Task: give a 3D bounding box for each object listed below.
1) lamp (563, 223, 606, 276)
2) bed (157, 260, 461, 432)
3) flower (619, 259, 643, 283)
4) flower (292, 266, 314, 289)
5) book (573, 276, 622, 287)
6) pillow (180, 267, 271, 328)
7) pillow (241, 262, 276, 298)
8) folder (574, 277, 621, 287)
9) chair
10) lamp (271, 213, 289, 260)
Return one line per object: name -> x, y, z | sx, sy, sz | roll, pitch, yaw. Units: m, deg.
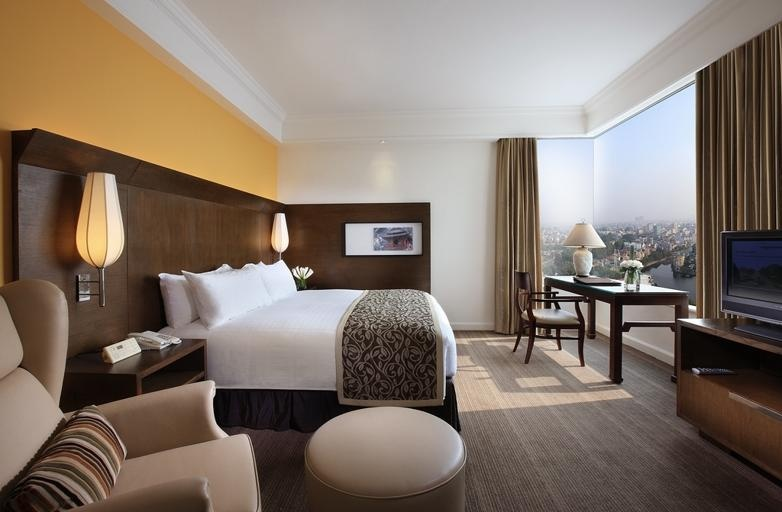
lamp -> 2.322, -0.082, 6.072 | 0.501, 0.690, 0.515 | 3, -4, -10
bed -> -0.741, 0.852, 4.714 | 1.739, 0.974, 1.822 | -1, -2, -2
flower -> 2.580, 0.172, 5.475 | 0.268, 0.286, 0.237 | 0, -3, -6
flower -> -1.242, 0.293, 6.906 | 0.317, 0.350, 0.285 | 1, -5, -12
book -> 2.381, 0.299, 5.824 | 0.480, 0.037, 0.360 | 1, 8, 16
pillow -> -1.559, 0.238, 4.766 | 0.420, 0.408, 1.006 | 19, 5, 4
pillow -> -1.447, 0.237, 5.605 | 0.094, 0.394, 0.404 | -20, -10, 10
folder -> 2.342, 0.301, 5.751 | 0.424, 0.033, 0.320 | 2, 8, 28
chair -> 1.792, 0.685, 5.841 | 0.665, 1.045, 0.816 | 0, 3, 2
lamp -> -1.563, -0.282, 6.965 | 0.215, 0.659, 0.411 | -1, 3, -5
